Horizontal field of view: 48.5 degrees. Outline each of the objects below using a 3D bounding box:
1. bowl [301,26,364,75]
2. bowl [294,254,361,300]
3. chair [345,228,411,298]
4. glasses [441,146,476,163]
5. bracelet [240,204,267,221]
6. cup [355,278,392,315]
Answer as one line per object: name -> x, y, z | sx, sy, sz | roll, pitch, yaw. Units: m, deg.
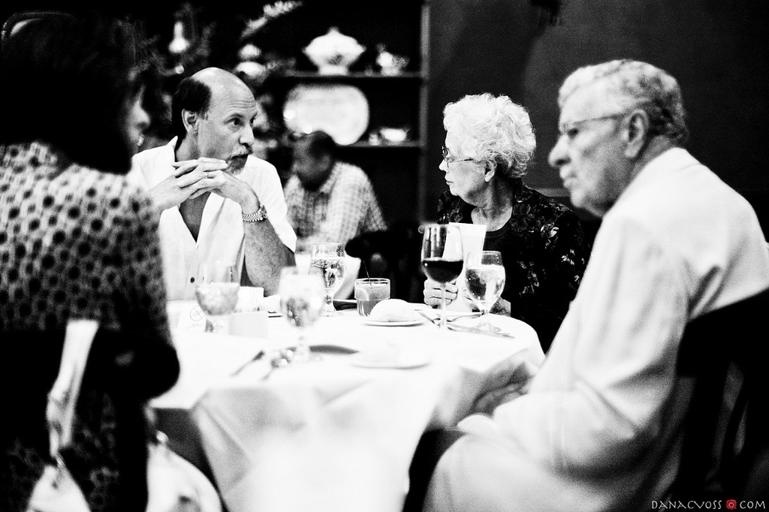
bowl -> -0.360, -1.432, 6.070 | 0.338, 0.261, 0.347 | -3, 8, 0
bowl -> -0.161, 0.078, 3.575 | 0.206, 0.193, 0.230 | 0, 1, -45
chair -> 0.024, 0.042, 5.039 | 0.387, 0.477, 0.361 | 2, 2, 24
glasses -> 0.294, -0.376, 3.263 | 0.097, 0.032, 0.094 | 3, 5, -9
bracelet -> -0.449, -0.155, 3.009 | 0.066, 0.039, 0.054 | -8, -6, 42
cup -> -0.032, 0.121, 2.574 | 0.098, 0.108, 0.100 | 1, -3, 0
